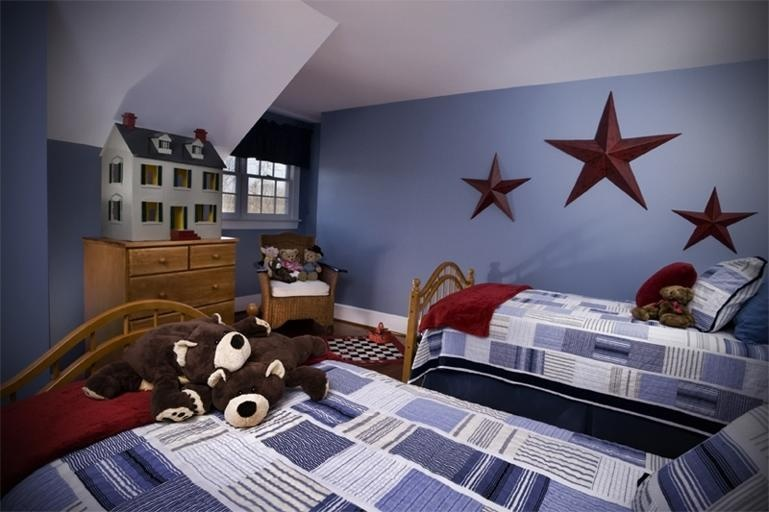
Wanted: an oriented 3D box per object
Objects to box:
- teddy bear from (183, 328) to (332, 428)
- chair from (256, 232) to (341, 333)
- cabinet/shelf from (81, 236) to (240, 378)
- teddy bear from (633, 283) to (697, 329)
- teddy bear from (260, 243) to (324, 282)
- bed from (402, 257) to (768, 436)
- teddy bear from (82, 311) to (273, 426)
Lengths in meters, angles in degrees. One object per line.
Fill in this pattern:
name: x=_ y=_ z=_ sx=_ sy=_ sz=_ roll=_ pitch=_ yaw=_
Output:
teddy bear: x=-0.704 y=0.631 z=2.679 sx=0.806 sy=0.299 sz=0.904 roll=-4 pitch=11 yaw=-9
chair: x=-0.982 y=0.258 z=5.114 sx=0.928 sy=0.992 sz=0.960 roll=7 pitch=8 yaw=37
cabinet/shelf: x=-1.682 y=0.351 z=3.703 sx=0.564 sy=0.998 sz=1.008 roll=9 pitch=9 yaw=30
teddy bear: x=1.949 y=0.337 z=3.266 sx=0.308 sy=0.289 sz=0.375 roll=7 pitch=0 yaw=-35
teddy bear: x=-0.990 y=0.088 z=5.048 sx=0.508 sy=0.298 sz=0.419 roll=2 pitch=-2 yaw=-32
bed: x=1.474 y=0.364 z=3.142 sx=1.652 sy=0.510 sz=1.140 roll=5 pitch=6 yaw=32
teddy bear: x=-1.132 y=0.527 z=2.625 sx=0.960 sy=0.298 sz=1.044 roll=-10 pitch=16 yaw=-30
